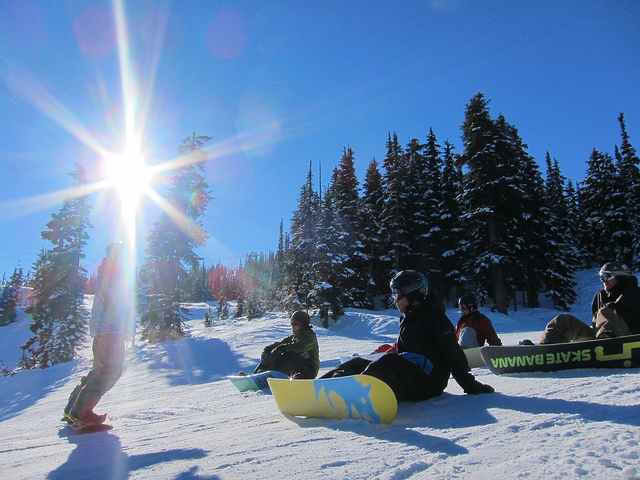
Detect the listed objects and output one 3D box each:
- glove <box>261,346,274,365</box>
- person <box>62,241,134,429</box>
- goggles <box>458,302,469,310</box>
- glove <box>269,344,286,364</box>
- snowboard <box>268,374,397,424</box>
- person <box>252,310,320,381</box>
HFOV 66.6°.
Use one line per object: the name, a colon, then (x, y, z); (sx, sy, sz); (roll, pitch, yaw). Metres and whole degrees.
glove: (-1.102, 2.433, 10.173); (0.117, 0.333, 0.247); (4, 29, -4)
person: (-3.277, 1.389, 7.380); (0.825, 2.730, 0.329); (-1, -8, -30)
goggles: (2.852, 1.320, 9.709); (0.123, 0.144, 0.226); (0, -9, -38)
glove: (-0.811, 2.271, 9.697); (0.254, 0.342, 0.504); (1, -10, -44)
snowboard: (0.187, 2.142, 6.876); (2.018, 0.687, 0.291); (-4, 3, 37)
person: (-0.582, 2.160, 9.763); (1.215, 1.586, 1.118); (13, -5, -22)
